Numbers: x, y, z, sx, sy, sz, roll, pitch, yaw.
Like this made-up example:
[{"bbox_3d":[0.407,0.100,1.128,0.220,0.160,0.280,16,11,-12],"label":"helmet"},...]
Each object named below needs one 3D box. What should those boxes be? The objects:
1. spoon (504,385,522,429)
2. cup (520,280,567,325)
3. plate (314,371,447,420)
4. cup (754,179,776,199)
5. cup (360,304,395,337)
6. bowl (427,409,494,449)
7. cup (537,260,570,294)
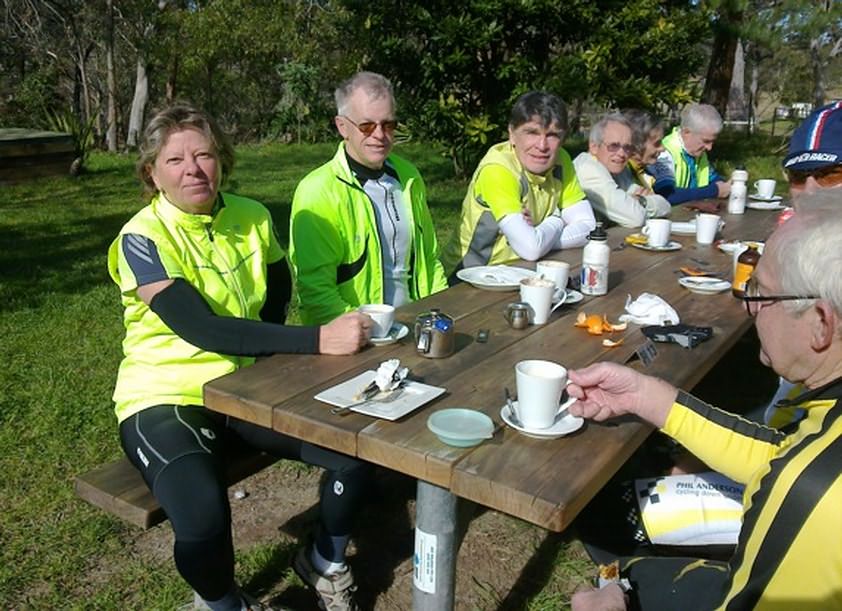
[{"bbox_3d":[0.331,0.356,2.290,0.031,0.029,0.161,3,28,-9],"label":"spoon"},{"bbox_3d":[0.569,-0.035,3.051,0.245,0.193,0.166,7,25,23],"label":"cup"},{"bbox_3d":[-0.145,0.334,2.336,0.384,0.068,0.281,5,18,26],"label":"plate"},{"bbox_3d":[3.332,-1.098,6.097,0.171,0.178,0.217,-1,3,-1],"label":"cup"},{"bbox_3d":[-0.173,0.059,2.767,0.134,0.112,0.133,-1,21,1],"label":"cup"},{"bbox_3d":[0.109,0.400,2.129,0.145,0.037,0.161,13,24,-10],"label":"bowl"},{"bbox_3d":[0.684,-0.141,3.268,0.131,0.139,0.175,0,11,1],"label":"cup"}]
